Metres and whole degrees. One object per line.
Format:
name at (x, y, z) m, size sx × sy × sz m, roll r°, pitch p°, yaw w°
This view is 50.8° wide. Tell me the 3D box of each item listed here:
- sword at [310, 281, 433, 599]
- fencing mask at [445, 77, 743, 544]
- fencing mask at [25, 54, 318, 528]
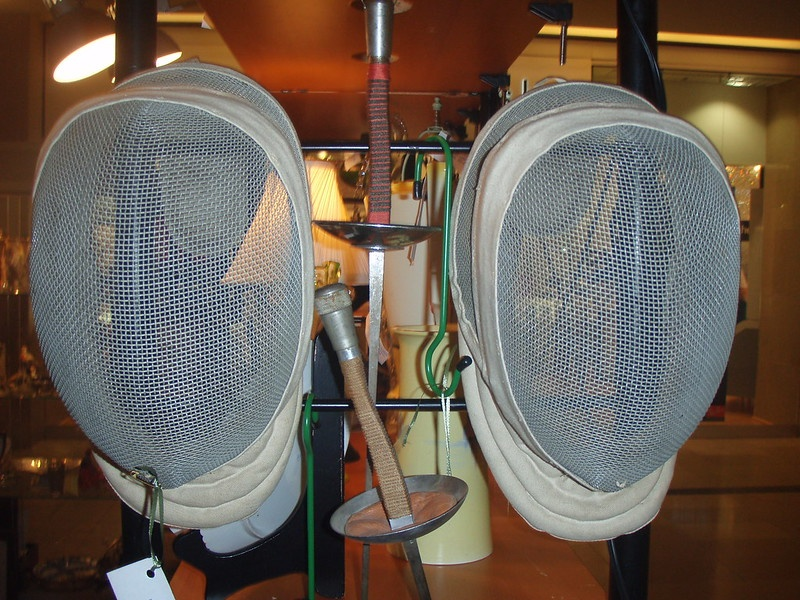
sword at (-0.039, 0.239, 1.385) m, size 0.179 × 0.523 × 0.140 m, roll -3°, pitch 11°, yaw -4°
fencing mask at (0.358, -0.009, 1.430) m, size 0.486 × 0.828 × 0.231 m, roll 6°, pitch -20°, yaw -7°
fencing mask at (-0.349, -0.035, 1.352) m, size 0.408 × 0.730 × 0.248 m, roll -1°, pitch 6°, yaw 4°
